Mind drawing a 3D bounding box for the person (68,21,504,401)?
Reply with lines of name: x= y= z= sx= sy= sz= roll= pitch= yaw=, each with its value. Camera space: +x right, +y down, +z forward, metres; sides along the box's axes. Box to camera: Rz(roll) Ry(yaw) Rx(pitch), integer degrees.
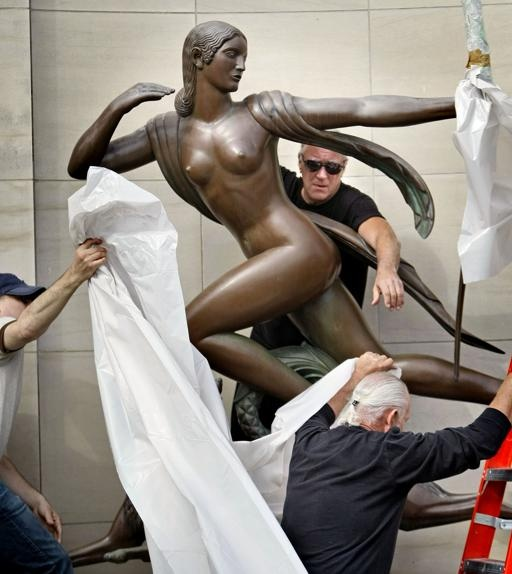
person: x=0.062 y=-0.147 z=2.583 sx=1.398 sy=1.383 sz=0.491 roll=-7 pitch=-1 yaw=6
